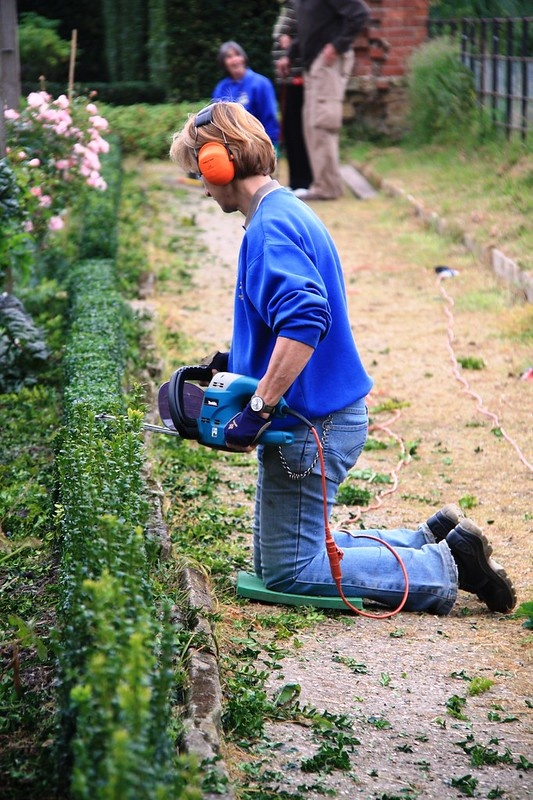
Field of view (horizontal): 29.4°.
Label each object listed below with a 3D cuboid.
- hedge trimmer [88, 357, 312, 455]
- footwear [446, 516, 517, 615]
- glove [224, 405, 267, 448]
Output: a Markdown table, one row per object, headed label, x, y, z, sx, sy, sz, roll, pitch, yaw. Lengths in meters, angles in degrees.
| label | x | y | z | sx | sy | sz | roll | pitch | yaw |
| --- | --- | --- | --- | --- | --- | --- | --- | --- | --- |
| hedge trimmer | -0.194 | 0.023 | 3.193 | 0.589 | 0.262 | 0.441 | 16 | 18 | 42 |
| footwear | 0.778 | 0.612 | 3.509 | 0.161 | 0.314 | 0.114 | -30 | 8 | -36 |
| glove | -0.052 | 0.083 | 3.009 | 0.152 | 0.058 | 0.095 | -38 | 56 | -17 |
